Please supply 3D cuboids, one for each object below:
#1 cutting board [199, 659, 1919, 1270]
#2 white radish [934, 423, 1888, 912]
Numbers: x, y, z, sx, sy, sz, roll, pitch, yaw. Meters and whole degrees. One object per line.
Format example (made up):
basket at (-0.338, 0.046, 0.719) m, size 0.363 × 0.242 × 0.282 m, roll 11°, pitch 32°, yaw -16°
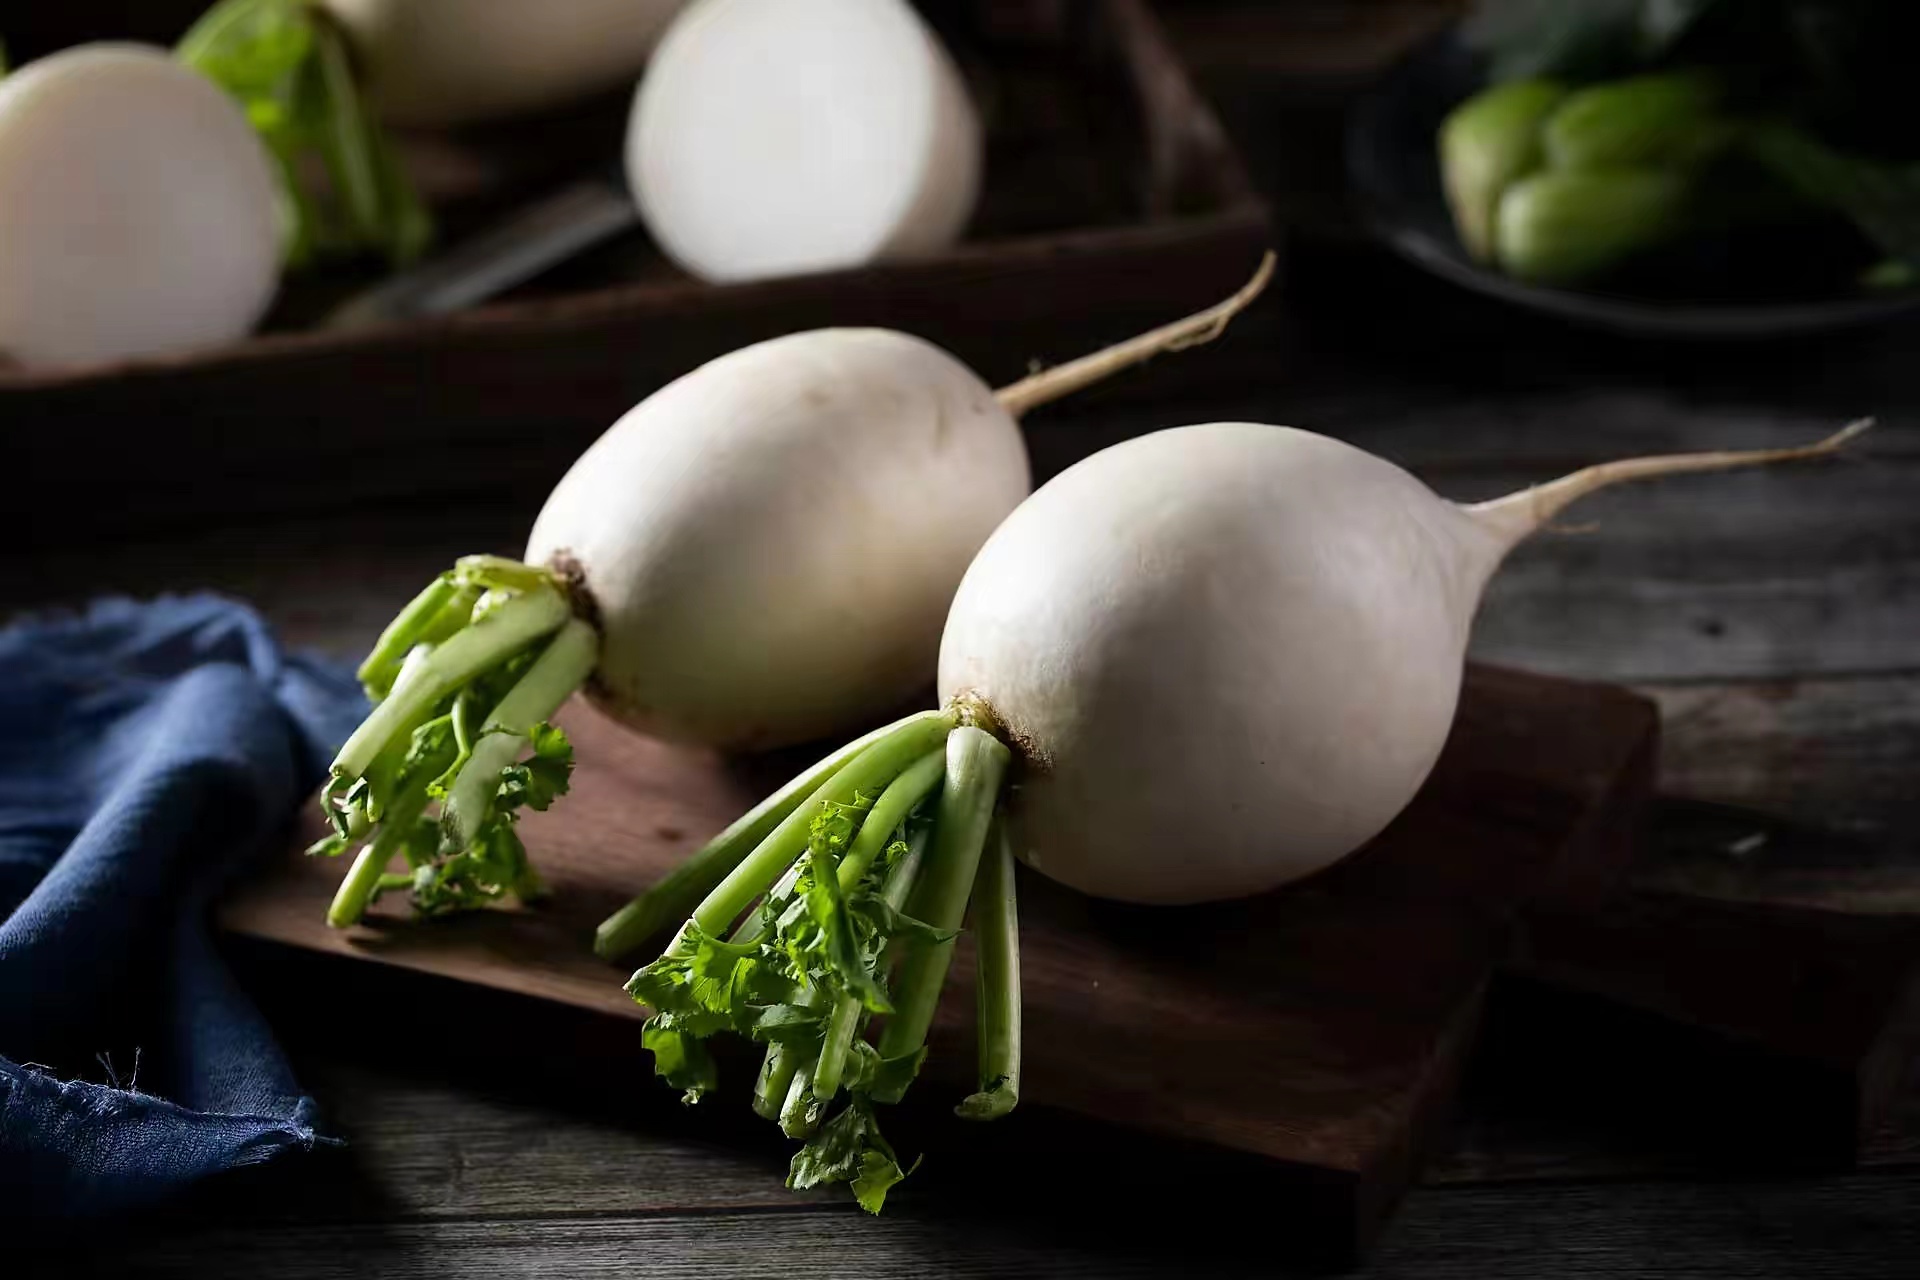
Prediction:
cutting board at (0.093, 0.088, 0.905) m, size 0.611 × 0.063 × 0.356 m, roll 13°, pitch 33°, yaw 21°
white radish at (0.236, -0.025, 1.023) m, size 0.498 × 0.205 × 0.210 m, roll -18°, pitch 18°, yaw -11°
